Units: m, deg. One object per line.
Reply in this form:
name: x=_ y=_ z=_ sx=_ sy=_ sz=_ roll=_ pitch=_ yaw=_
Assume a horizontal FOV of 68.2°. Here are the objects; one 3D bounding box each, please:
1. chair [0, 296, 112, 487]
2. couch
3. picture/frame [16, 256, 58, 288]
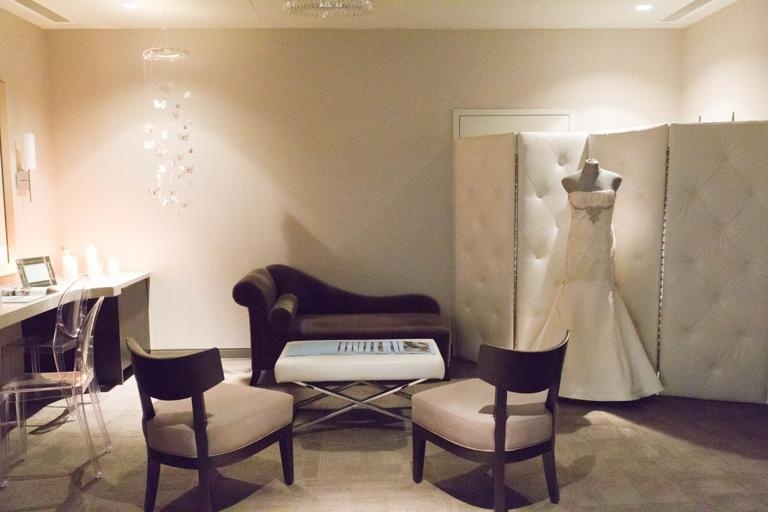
chair: x=-2.719 y=0.977 z=4.699 sx=0.815 sy=1.293 sz=1.419 roll=-6 pitch=10 yaw=-26
couch: x=-0.410 y=0.637 z=5.964 sx=2.090 sy=1.088 sz=1.132 roll=-1 pitch=9 yaw=-4
picture/frame: x=-3.304 y=0.157 z=5.371 sx=0.030 sy=0.227 sz=0.272 roll=-13 pitch=7 yaw=24
